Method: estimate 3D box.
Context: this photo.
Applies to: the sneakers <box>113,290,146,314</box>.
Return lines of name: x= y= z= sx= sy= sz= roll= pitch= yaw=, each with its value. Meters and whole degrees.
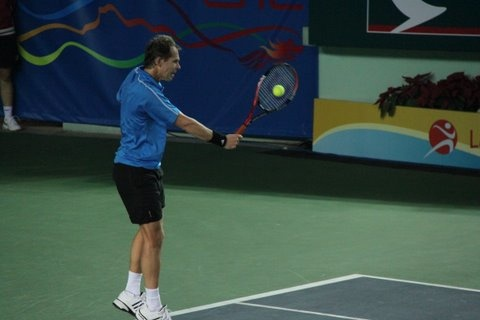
sneakers: x=-0.952 y=1.225 z=3.998 sx=0.332 sy=0.151 sz=0.125 roll=33 pitch=4 yaw=-33

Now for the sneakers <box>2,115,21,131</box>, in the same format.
sneakers: x=-5.069 y=-0.795 z=10.393 sx=0.436 sy=0.240 sz=0.198 roll=6 pitch=8 yaw=42

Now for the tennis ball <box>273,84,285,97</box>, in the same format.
tennis ball: x=0.427 y=-0.756 z=5.102 sx=0.124 sy=0.132 sz=0.177 roll=1 pitch=9 yaw=4
